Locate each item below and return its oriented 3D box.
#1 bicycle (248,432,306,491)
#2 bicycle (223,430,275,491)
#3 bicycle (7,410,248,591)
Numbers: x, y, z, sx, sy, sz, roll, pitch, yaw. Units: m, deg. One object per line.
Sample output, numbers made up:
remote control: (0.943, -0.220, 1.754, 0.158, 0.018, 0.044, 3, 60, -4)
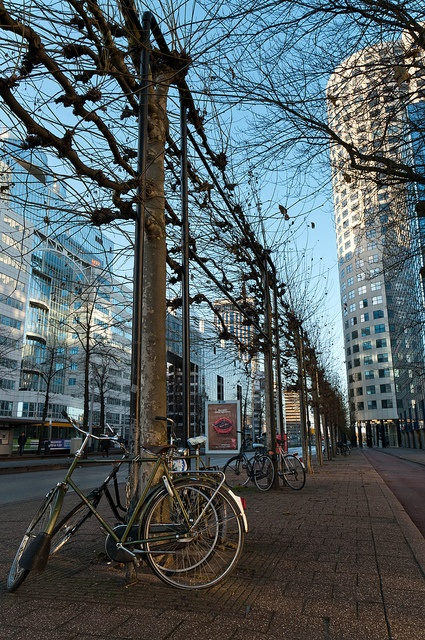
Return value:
bicycle: (1.046, 3.260, 11.141, 0.795, 1.011, 1.622, 0, -15, -11)
bicycle: (0.846, 3.328, 11.300, 0.932, 1.115, 1.865, 10, -19, -29)
bicycle: (-0.318, 1.393, 3.713, 1.888, 1.222, 0.946, -1, -18, 17)
